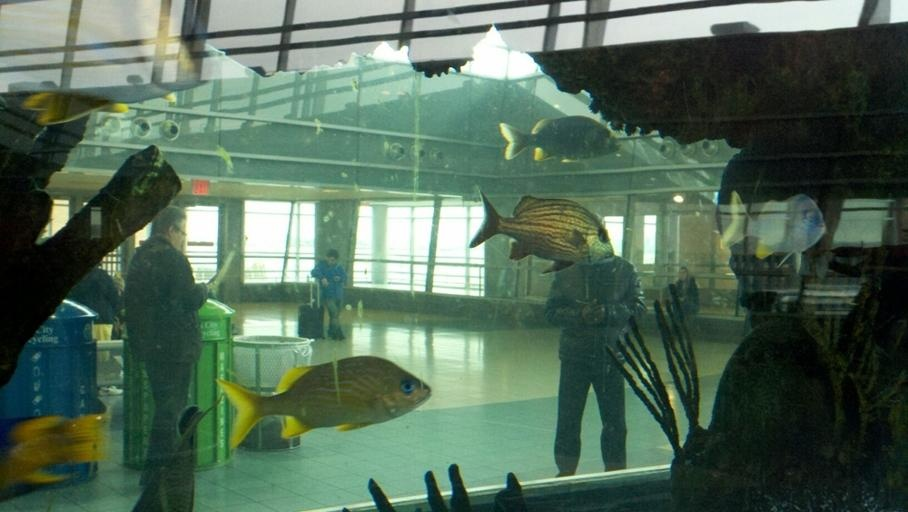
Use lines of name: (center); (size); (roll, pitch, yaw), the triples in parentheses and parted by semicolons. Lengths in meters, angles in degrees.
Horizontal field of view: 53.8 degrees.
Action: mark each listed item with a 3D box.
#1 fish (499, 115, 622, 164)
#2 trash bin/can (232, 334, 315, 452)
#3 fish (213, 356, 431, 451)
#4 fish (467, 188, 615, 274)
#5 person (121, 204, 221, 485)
fish: (1.286, -1.382, 10.638); (1.477, 0.554, 0.295); (2, 4, 26)
trash bin/can: (-2.057, 1.529, 10.037); (1.118, 1.152, 1.058); (0, -1, -10)
fish: (-1.295, 1.465, 9.078); (2.293, 0.728, 0.440); (-8, -4, 9)
fish: (1.201, -0.252, 11.741); (2.124, 0.948, 0.530); (7, -2, -25)
person: (-2.870, 0.862, 8.870); (0.664, 2.651, 0.916); (4, -4, -42)
